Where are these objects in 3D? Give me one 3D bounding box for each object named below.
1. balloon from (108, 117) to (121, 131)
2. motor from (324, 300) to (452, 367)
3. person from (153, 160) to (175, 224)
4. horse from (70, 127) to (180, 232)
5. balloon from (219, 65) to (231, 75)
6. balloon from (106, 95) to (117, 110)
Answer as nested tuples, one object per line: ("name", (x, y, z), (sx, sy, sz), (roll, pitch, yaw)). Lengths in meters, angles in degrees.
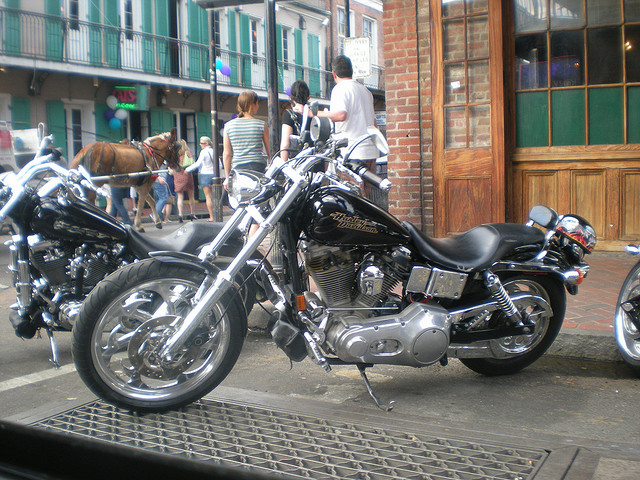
("balloon", (-6.938, -3.909, 22.561), (0.405, 0.384, 0.449), (0, -2, -16))
("motor", (0.367, 0.537, 4.400), (0.748, 0.402, 0.638), (0, 7, -22))
("person", (-3.814, -1.186, 16.223), (0.513, 0.386, 1.554), (-5, -28, -15))
("horse", (-4.369, -1.331, 14.863), (0.924, 2.348, 3.250), (4, 4, 34))
("balloon", (-3.727, -6.621, 25.859), (0.380, 0.361, 0.201), (1, -7, -28))
("balloon", (-7.041, -4.655, 22.507), (0.351, 0.460, 0.290), (-3, 8, -18))
